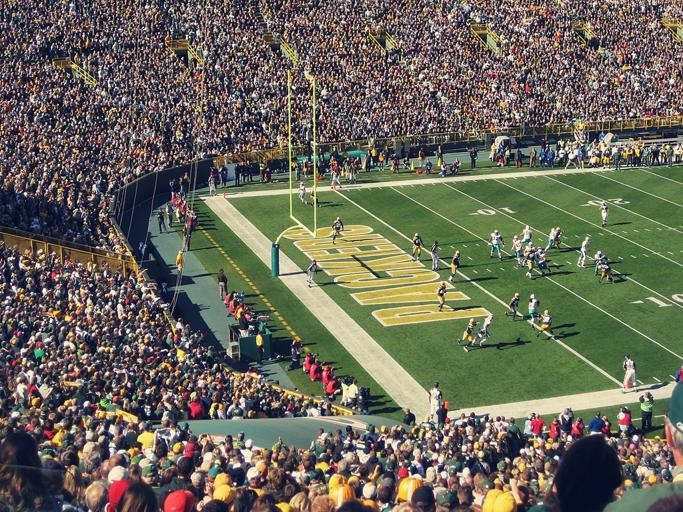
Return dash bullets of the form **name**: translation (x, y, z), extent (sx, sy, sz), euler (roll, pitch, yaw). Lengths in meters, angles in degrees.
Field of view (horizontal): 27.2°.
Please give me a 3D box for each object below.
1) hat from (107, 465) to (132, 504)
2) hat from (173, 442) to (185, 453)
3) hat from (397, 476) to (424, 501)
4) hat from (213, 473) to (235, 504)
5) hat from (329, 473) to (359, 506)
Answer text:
- **hat**: translation (-5.699, 5.812, 35.968), extent (0.518, 0.474, 0.817), euler (3, 21, -5)
- **hat**: translation (-4.763, 5.631, 40.981), extent (0.315, 0.277, 0.546), euler (-6, 17, -9)
- **hat**: translation (1.780, 6.248, 37.047), extent (0.584, 0.639, 0.911), euler (-7, 17, -13)
- **hat**: translation (-3.157, 6.129, 37.063), extent (0.428, 0.358, 0.667), euler (2, 25, -14)
- **hat**: translation (0.040, 6.174, 37.015), extent (0.548, 0.723, 0.725), euler (2, 19, 7)
